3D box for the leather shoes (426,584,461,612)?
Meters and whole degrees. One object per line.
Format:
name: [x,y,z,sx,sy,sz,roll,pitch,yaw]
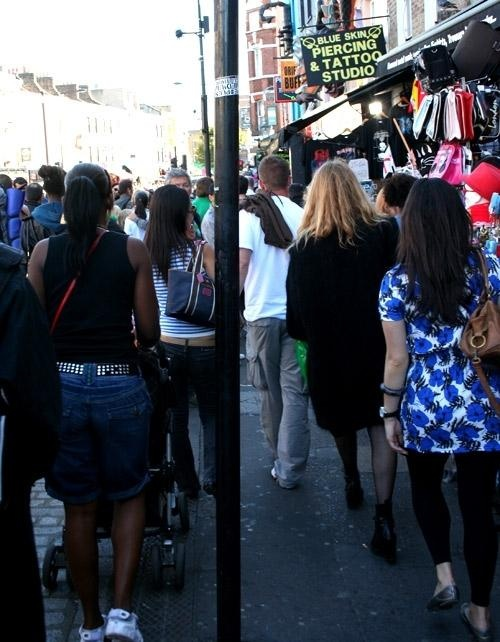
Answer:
leather shoes: [0.782,1.115,2.495,0.070,0.071,0.158,4,-29,-15]
